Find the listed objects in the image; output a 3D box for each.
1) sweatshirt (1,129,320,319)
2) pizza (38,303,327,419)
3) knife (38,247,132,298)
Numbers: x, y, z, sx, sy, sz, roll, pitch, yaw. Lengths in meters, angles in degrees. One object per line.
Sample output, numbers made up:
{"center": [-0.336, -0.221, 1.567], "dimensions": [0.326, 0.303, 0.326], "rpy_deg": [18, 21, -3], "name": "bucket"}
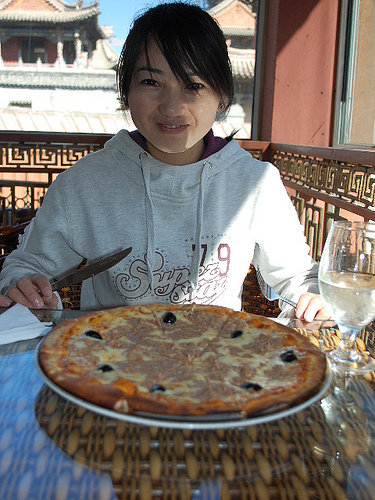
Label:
{"center": [-0.055, -0.071, 1.120], "dimensions": [0.807, 0.524, 0.431], "rpy_deg": [2, 11, -3], "name": "sweatshirt"}
{"center": [0.029, 0.145, 0.511], "dimensions": [0.280, 0.036, 0.282], "rpy_deg": [-4, 11, 15], "name": "pizza"}
{"center": [-0.264, 0.052, 1.056], "dimensions": [0.348, 0.041, 0.029], "rpy_deg": [-24, 20, -30], "name": "knife"}
